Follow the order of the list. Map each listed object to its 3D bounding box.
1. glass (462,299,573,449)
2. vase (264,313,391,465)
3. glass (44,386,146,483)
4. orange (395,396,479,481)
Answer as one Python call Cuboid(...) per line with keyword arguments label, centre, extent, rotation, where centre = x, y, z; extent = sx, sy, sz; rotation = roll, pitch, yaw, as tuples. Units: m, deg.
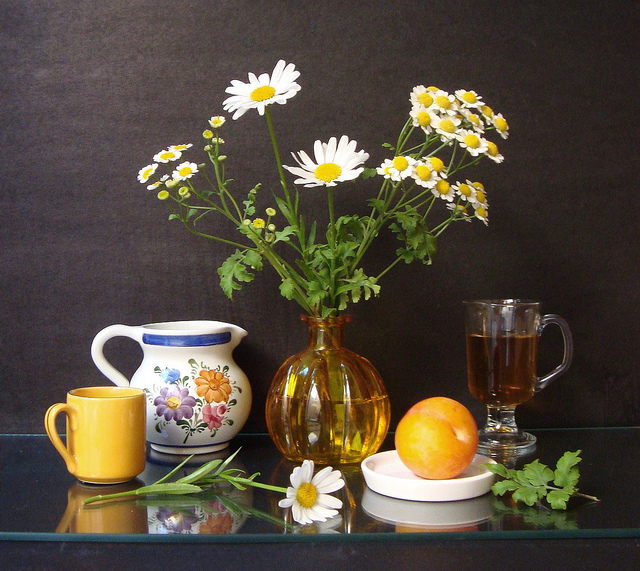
Cuboid(label="glass", centre=(0.372, 0.161, 1.297), extent=(0.203, 0.272, 0.159), rotation=(0, 3, 21))
Cuboid(label="vase", centre=(0.011, 0.166, 1.213), extent=(0.233, 0.282, 0.241), rotation=(-1, -4, 2))
Cuboid(label="glass", centre=(-0.353, 0.212, 1.135), extent=(0.125, 0.180, 0.224), rotation=(-3, -5, 36))
Cuboid(label="orange", centre=(0.182, 0.222, 1.107), extent=(0.120, 0.120, 0.112), rotation=(-22, 1, -18))
